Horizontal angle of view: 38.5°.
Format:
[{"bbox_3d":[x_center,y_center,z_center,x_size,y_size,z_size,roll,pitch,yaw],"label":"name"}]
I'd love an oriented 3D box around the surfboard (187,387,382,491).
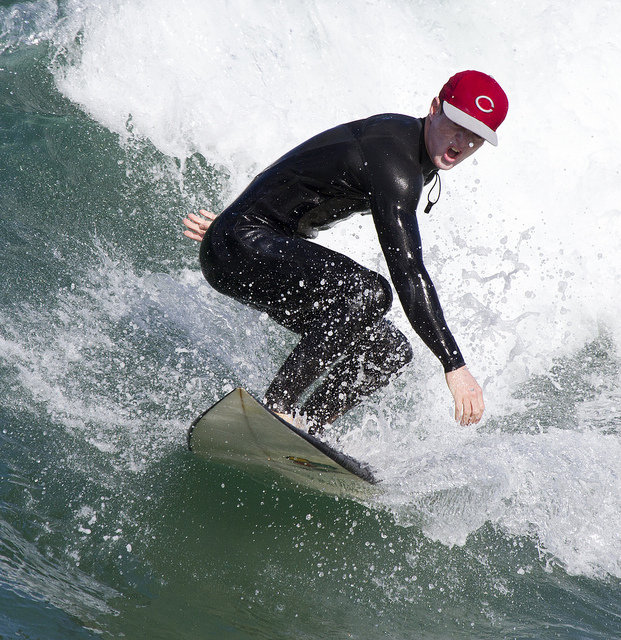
[{"bbox_3d":[-0.062,0.579,4.336,0.360,0.231,1.437,1,-30,35],"label":"surfboard"}]
